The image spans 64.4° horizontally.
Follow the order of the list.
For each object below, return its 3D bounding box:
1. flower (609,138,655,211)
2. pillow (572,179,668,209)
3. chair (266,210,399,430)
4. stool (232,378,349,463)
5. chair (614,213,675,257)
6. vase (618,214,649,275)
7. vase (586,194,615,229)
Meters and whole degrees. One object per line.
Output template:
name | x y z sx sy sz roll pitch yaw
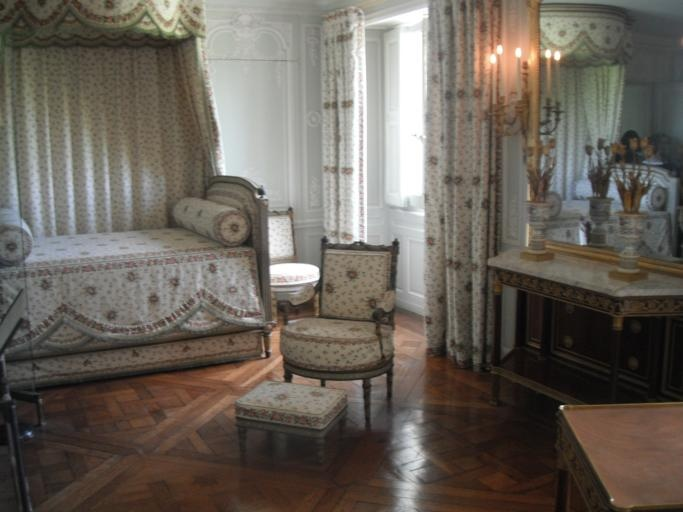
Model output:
flower | 1.757 -0.482 3.280 0.244 0.422 0.272 2 -4 -30
pillow | 1.722 -0.388 3.367 0.035 0.158 0.593 -10 16 -30
chair | -0.036 0.496 3.831 0.844 1.150 0.899 0 14 5
stool | -0.302 0.898 3.174 0.654 0.288 0.435 3 7 20
chair | 1.832 -0.087 3.322 0.319 0.247 0.168 1 -13 24
vase | 1.710 -0.087 3.211 0.137 0.350 0.429 7 16 27
vase | 1.672 -0.300 3.507 0.180 0.170 0.170 2 5 8
